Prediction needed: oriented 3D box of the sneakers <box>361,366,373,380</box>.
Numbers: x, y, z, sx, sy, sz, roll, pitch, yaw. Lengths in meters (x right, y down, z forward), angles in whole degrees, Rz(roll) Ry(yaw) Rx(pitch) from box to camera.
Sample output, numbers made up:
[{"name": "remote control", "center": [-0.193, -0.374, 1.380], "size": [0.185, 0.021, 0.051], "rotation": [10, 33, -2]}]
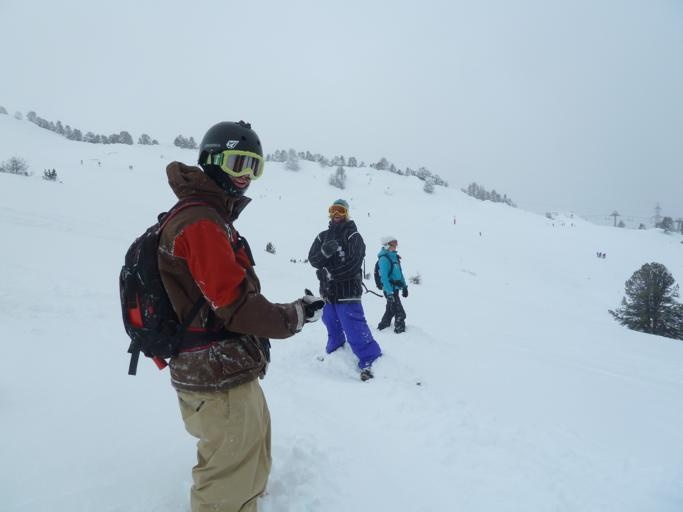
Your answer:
[{"name": "sneakers", "center": [0.481, 2.271, 12.169], "size": [0.243, 0.215, 0.258], "rotation": [1, 7, 0]}]

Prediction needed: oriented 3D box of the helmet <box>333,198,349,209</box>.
[{"name": "helmet", "center": [-0.015, -1.011, 12.890], "size": [0.219, 0.297, 0.307], "rotation": [4, 15, 16]}]
